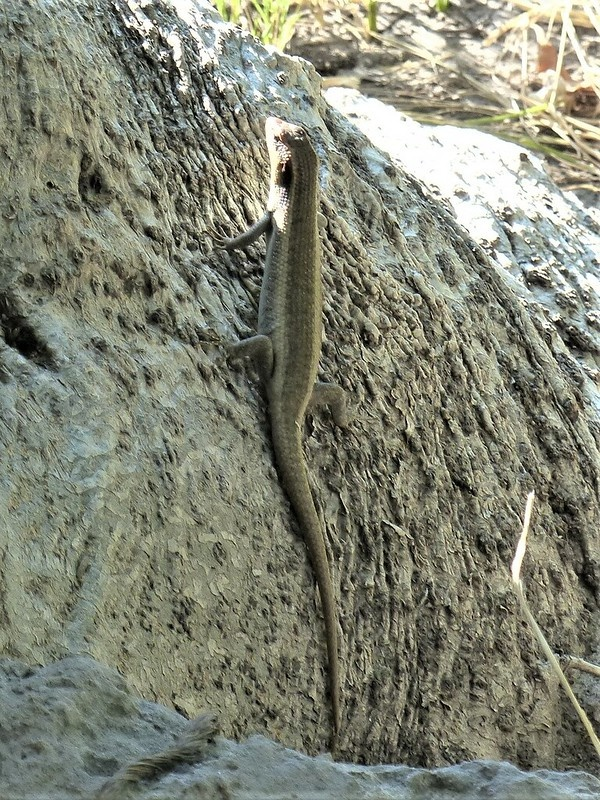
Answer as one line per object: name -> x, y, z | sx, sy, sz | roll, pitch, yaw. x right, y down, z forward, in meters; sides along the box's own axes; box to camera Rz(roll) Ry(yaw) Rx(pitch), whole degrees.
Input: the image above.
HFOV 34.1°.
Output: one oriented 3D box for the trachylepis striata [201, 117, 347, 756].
trachylepis striata -> -0.003, -0.021, 3.582 | 0.493, 0.304, 2.663 | 9, 56, -21
